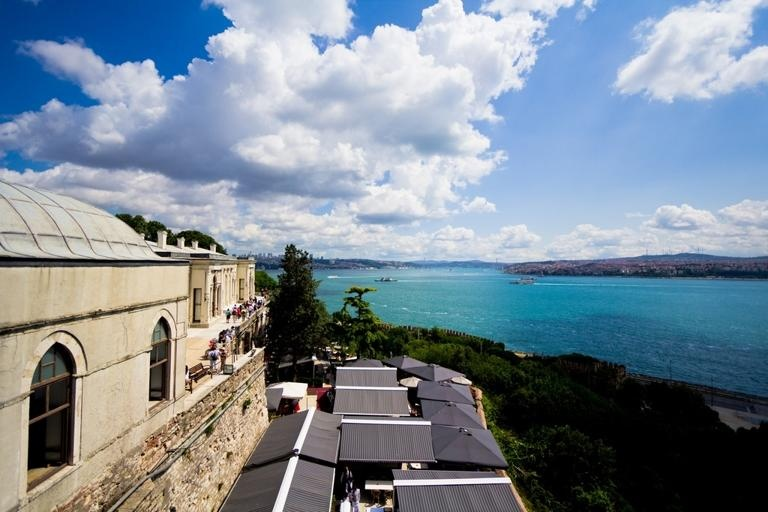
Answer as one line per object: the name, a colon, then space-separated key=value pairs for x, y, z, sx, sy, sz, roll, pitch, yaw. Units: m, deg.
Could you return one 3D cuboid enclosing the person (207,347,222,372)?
person: x=-10.652 y=6.443 z=26.881 sx=0.627 sy=1.472 sz=2.667 roll=-1 pitch=2 yaw=-21
